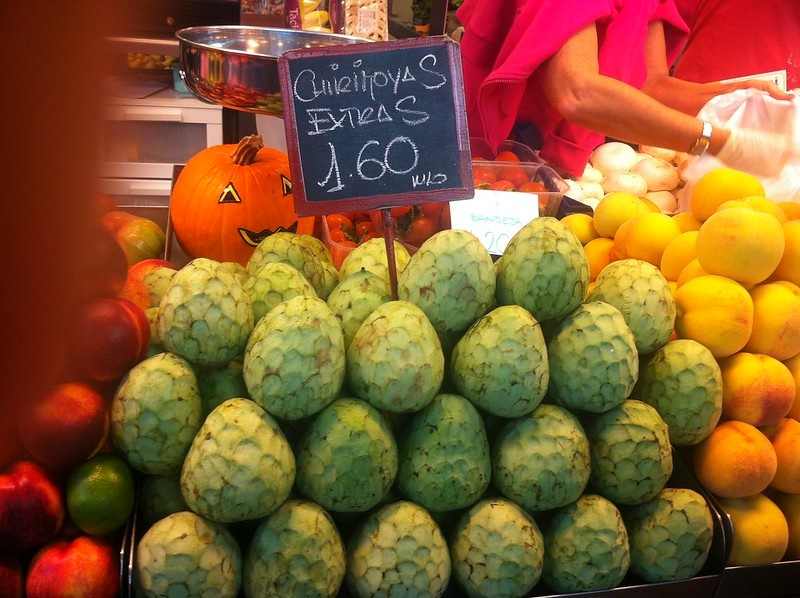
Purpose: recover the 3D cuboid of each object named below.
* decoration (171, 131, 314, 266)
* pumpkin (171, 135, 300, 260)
[{"bbox_3d":[-0.538,-0.298,2.215,0.455,0.440,0.458,-2,21,-40],"label":"decoration"},{"bbox_3d":[-0.524,-0.343,2.188,0.415,0.411,0.430,6,32,-3],"label":"pumpkin"}]
